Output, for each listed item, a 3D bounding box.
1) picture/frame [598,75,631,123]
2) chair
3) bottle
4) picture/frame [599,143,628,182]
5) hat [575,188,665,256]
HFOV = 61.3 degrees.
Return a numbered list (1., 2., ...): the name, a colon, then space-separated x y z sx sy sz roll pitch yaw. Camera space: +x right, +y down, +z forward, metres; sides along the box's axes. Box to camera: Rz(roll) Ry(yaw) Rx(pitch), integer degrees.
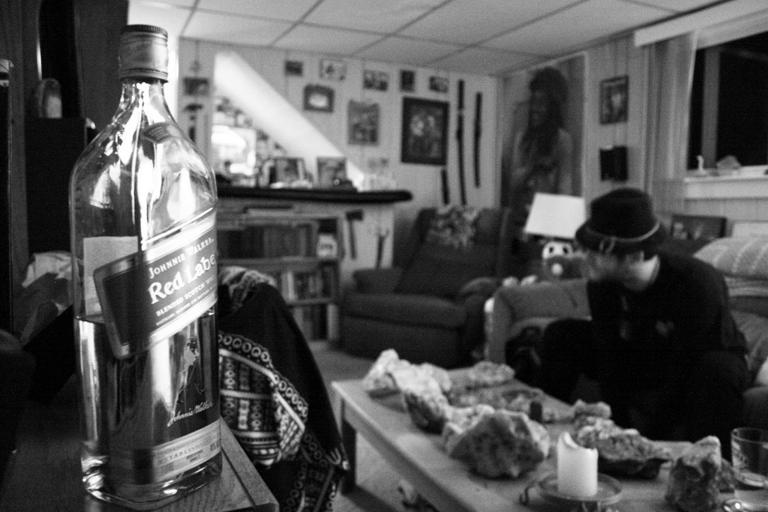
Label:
1. picture/frame: 0.630 -0.422 1.784 0.094 0.125 0.013 -13 22 -16
2. chair: 0.157 0.093 2.162 0.474 0.488 0.410 4 8 30
3. bottle: -0.294 0.011 0.791 0.185 0.573 0.132 0 8 -10
4. picture/frame: 0.636 -0.249 1.842 0.099 0.133 0.083 1 5 13
5. hat: 0.666 -0.091 1.826 0.210 0.110 0.175 -27 27 -31
